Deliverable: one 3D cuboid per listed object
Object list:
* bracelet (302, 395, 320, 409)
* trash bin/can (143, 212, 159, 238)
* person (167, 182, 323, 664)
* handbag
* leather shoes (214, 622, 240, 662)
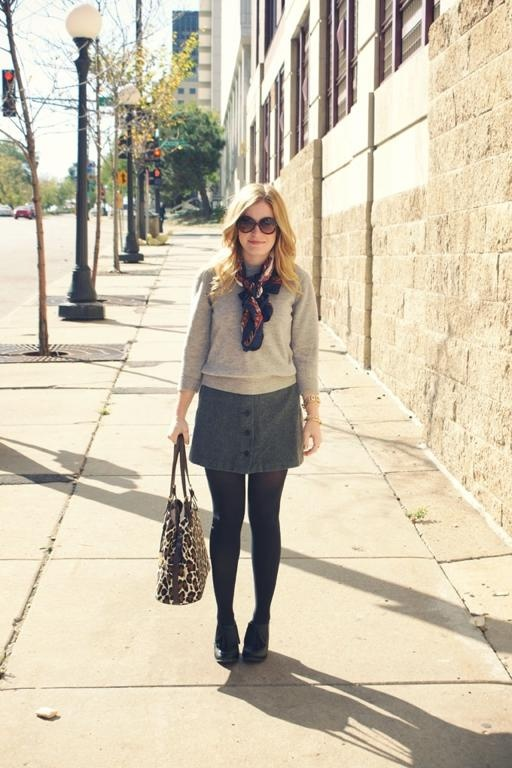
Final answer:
[{"bbox_3d":[0.217,0.072,3.185,0.047,0.030,0.054,0,4,-9],"label":"bracelet"},{"bbox_3d":[-5.064,-7.804,41.562,0.592,1.185,1.992,0,10,-7],"label":"trash bin/can"},{"bbox_3d":[-0.027,0.147,3.102,0.532,1.731,0.426,2,9,4],"label":"person"},{"bbox_3d":[-0.256,0.603,2.959,0.183,0.418,0.218,0,9,-5],"label":"handbag"},{"bbox_3d":[-0.106,0.953,3.087,0.057,0.076,0.167,1,20,-2],"label":"leather shoes"}]
